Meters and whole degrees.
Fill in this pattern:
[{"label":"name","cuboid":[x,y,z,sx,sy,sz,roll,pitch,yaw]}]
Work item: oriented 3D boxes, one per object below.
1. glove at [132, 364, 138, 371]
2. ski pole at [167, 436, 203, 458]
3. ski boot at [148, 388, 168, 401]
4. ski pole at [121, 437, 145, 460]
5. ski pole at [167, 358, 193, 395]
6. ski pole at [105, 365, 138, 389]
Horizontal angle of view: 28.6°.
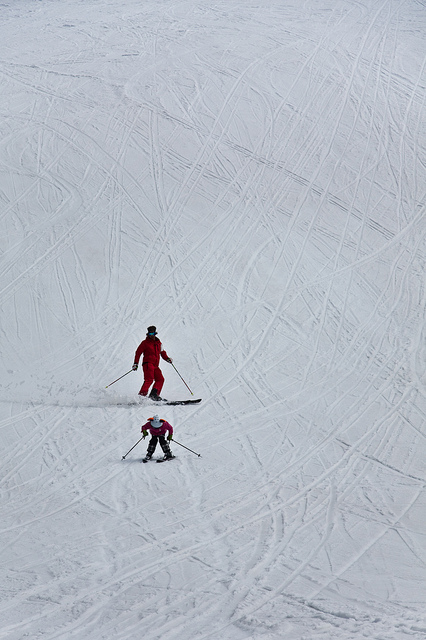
[{"label":"glove","cuboid":[-0.939,0.575,9.994,0.067,0.017,0.059,-3,88,11]},{"label":"ski pole","cuboid":[-0.335,1.447,9.439,0.503,0.054,0.072,26,1,6]},{"label":"ski boot","cuboid":[-0.677,0.945,10.303,0.227,0.193,0.106,17,47,-9]},{"label":"ski pole","cuboid":[-0.917,1.466,9.456,0.421,0.052,0.055,-35,34,-20]},{"label":"ski pole","cuboid":[-0.437,0.757,10.793,0.625,0.074,0.094,42,6,15]},{"label":"ski pole","cuboid":[-1.185,0.743,10.699,0.528,0.055,0.051,-33,86,-17]}]
